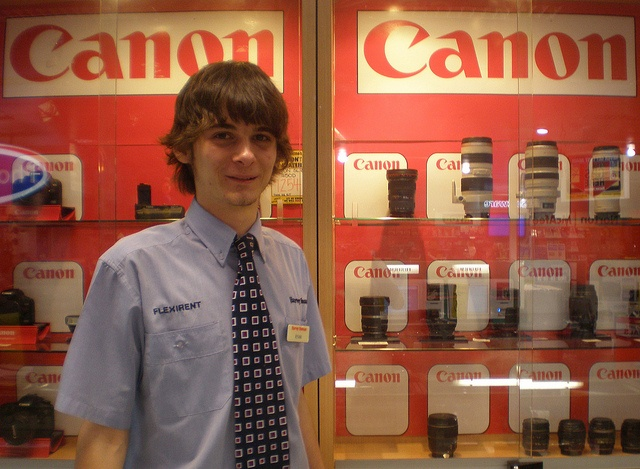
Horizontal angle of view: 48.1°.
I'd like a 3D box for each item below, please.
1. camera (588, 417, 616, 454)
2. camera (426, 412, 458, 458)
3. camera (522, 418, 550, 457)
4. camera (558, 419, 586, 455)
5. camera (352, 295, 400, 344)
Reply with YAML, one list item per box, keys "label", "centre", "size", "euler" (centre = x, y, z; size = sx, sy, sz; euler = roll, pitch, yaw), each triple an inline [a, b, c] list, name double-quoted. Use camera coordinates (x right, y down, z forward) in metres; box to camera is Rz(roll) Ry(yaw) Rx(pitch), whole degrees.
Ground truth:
- label: "camera"
  centre: [1.243, 0.882, 3.177]
  size: [0.104, 0.164, 0.104]
  euler: [0, 4, 29]
- label: "camera"
  centre: [0.542, 0.886, 3.175]
  size: [0.122, 0.191, 0.172]
  euler: [-1, 5, 12]
- label: "camera"
  centre: [0.937, 0.879, 3.147]
  size: [0.118, 0.156, 0.127]
  euler: [1, -4, -10]
- label: "camera"
  centre: [1.099, 0.882, 3.131]
  size: [0.107, 0.147, 0.127]
  euler: [1, -12, 0]
- label: "camera"
  centre: [0.248, 0.378, 3.208]
  size: [0.176, 0.205, 0.170]
  euler: [0, -2, -2]
